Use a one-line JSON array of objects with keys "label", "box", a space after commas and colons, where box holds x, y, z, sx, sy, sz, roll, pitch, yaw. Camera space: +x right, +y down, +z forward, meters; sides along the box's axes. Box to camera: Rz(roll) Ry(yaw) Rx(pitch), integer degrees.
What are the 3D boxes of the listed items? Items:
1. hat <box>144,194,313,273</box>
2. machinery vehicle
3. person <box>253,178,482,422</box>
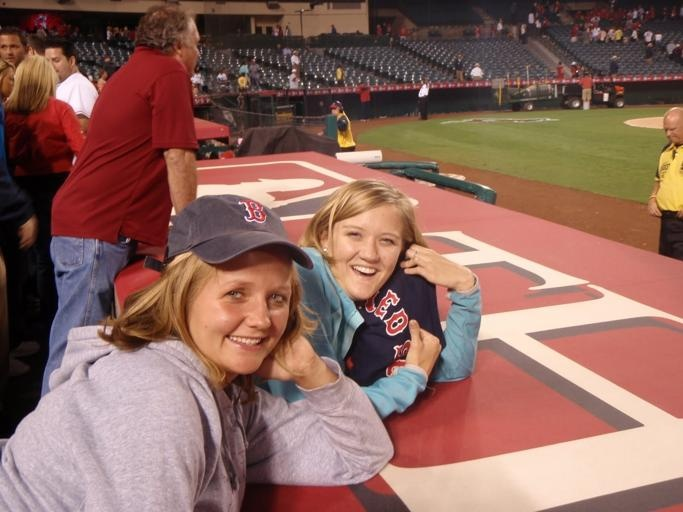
[{"label": "hat", "box": [-0.334, -0.057, 1.644, 0.311, 0.162, 0.238, -8, -8, 38]}, {"label": "machinery vehicle", "box": [10.605, -7.805, 27.502, 5.875, 1.976, 2.209, -5, 14, -9]}, {"label": "person", "box": [0.158, 0.128, 2.219, 0.794, 0.411, 0.933, 14, 61, -13]}]
